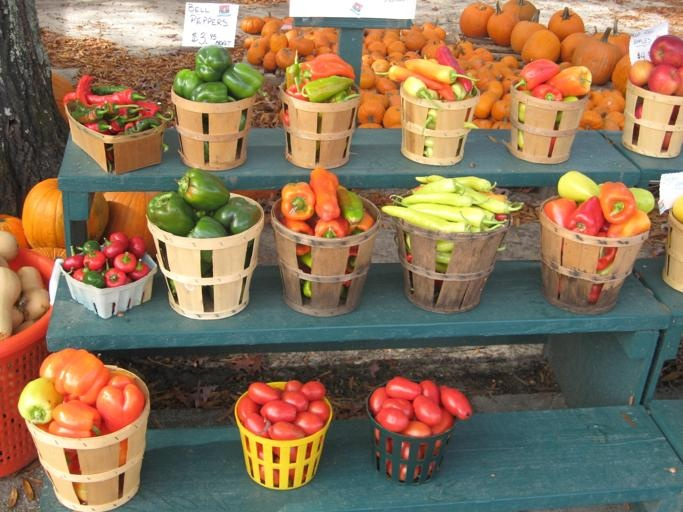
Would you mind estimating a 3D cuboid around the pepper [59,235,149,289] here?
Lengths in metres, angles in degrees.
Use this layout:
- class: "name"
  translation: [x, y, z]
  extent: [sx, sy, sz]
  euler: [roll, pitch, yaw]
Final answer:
- class: "pepper"
  translation: [-1.094, 0.034, 2.863]
  extent: [0.390, 0.167, 0.272]
  euler: [-14, 36, -19]

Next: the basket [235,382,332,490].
- class: "basket"
  translation: [-0.258, 0.828, 2.702]
  extent: [0.442, 0.344, 0.608]
  euler: [-5, 28, -23]
